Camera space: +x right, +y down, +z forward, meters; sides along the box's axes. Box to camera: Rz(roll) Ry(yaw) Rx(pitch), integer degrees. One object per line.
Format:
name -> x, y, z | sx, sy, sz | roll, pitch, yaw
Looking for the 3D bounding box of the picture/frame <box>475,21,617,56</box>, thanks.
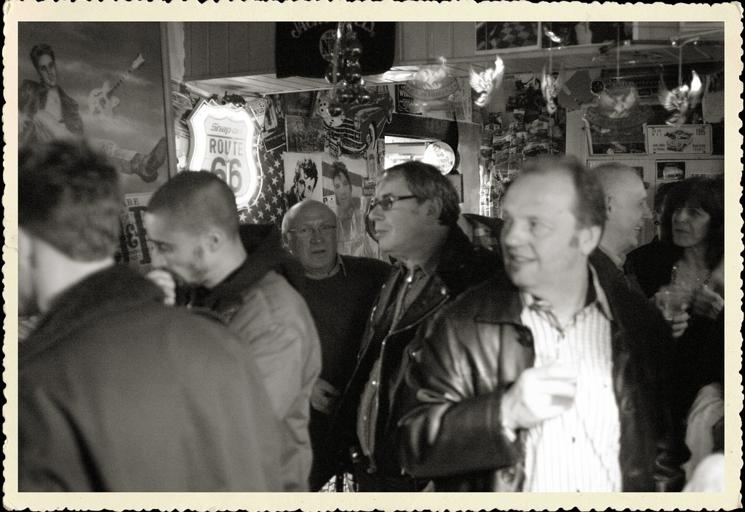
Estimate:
picture/frame -> 1.021, -1.246, 4.247 | 0.859, 0.168, 0.062 | 0, 4, 3
